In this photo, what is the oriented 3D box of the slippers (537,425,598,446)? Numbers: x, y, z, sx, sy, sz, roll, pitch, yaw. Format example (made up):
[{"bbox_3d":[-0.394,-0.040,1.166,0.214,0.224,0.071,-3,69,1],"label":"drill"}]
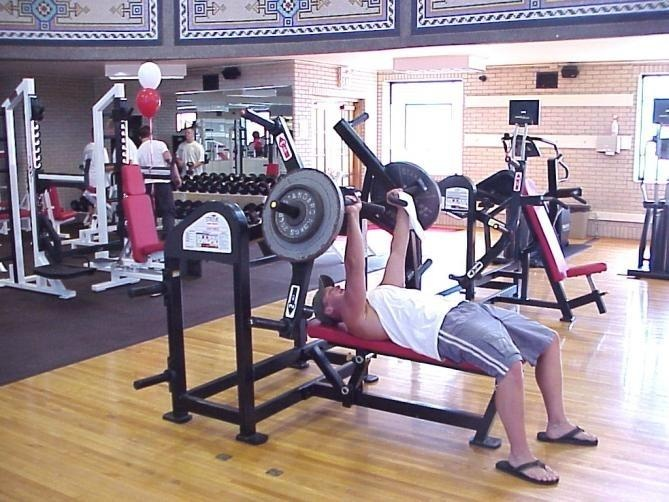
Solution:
[{"bbox_3d":[1.179,0.937,2.995,0.272,0.077,0.113,-1,0,14],"label":"slippers"}]

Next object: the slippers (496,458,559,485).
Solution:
[{"bbox_3d":[0.872,0.997,2.693,0.275,0.095,0.073,6,14,24],"label":"slippers"}]

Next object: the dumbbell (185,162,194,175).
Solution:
[{"bbox_3d":[-2.136,-1.230,8.815,0.163,0.172,0.158,-1,11,-10],"label":"dumbbell"}]

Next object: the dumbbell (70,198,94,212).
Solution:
[{"bbox_3d":[-3.860,-0.707,9.081,0.302,0.220,0.759,-6,4,-38],"label":"dumbbell"}]

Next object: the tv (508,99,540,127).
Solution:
[{"bbox_3d":[1.675,-1.230,5.239,0.241,0.216,0.273,3,13,13],"label":"tv"}]

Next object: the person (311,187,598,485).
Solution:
[{"bbox_3d":[0.602,0.352,2.948,1.376,1.241,0.552,6,14,25],"label":"person"}]

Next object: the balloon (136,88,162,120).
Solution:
[{"bbox_3d":[-2.053,-1.636,6.503,0.229,0.325,0.301,-4,14,-18],"label":"balloon"}]

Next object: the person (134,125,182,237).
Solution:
[{"bbox_3d":[-2.110,-0.790,7.146,0.470,1.418,1.401,-4,14,-18],"label":"person"}]

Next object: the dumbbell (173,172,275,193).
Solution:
[{"bbox_3d":[-1.548,-0.987,8.656,1.635,0.289,0.303,6,14,27],"label":"dumbbell"}]
